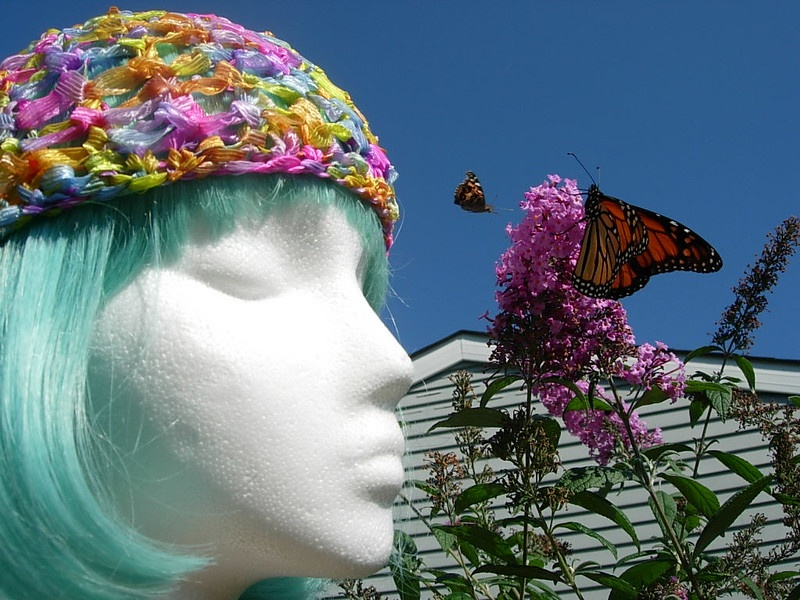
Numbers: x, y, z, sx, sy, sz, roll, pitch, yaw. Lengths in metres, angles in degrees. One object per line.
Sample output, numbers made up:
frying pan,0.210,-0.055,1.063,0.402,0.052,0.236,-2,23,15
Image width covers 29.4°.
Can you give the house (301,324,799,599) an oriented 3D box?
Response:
house,0.913,0.772,7.908,2.301,0.851,1.702,7,-16,-34
